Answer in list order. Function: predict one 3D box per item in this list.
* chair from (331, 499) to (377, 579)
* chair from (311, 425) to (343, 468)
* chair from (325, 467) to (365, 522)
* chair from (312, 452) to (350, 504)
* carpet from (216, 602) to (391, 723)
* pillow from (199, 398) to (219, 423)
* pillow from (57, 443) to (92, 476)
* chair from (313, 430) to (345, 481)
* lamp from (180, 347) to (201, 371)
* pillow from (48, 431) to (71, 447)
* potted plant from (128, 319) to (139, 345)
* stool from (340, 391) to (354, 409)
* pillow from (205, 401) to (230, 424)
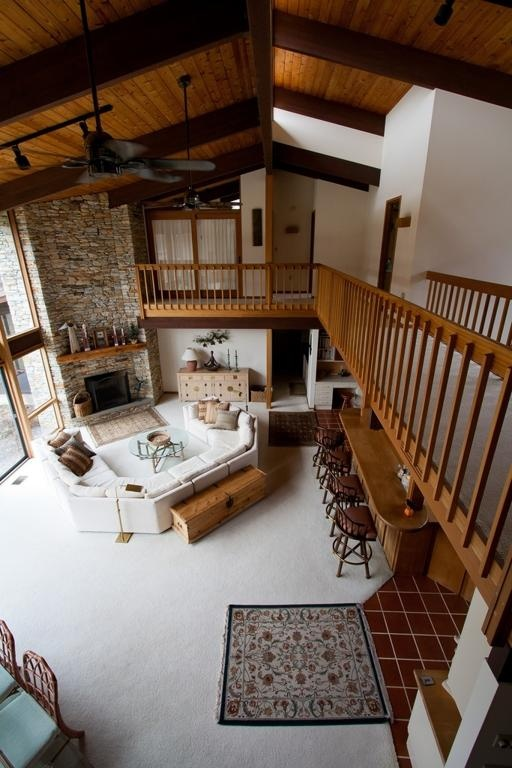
[{"bbox_3d":[1.279,2.002,5.615,0.513,0.922,0.550,-2,47,6],"label":"chair"},{"bbox_3d":[1.256,1.098,7.647,0.477,0.647,0.518,-5,29,-9],"label":"chair"},{"bbox_3d":[1.277,1.545,6.150,0.536,0.755,0.600,-1,35,1],"label":"chair"},{"bbox_3d":[1.203,1.455,6.810,0.492,0.697,0.523,1,45,-4],"label":"chair"},{"bbox_3d":[0.454,2.834,4.478,1.601,0.125,1.144,0,19,1],"label":"carpet"},{"bbox_3d":[-1.023,0.561,9.342,0.194,0.484,0.492,19,-22,-36],"label":"pillow"},{"bbox_3d":[-3.020,1.275,7.391,0.460,0.133,0.453,38,11,-32],"label":"pillow"},{"bbox_3d":[1.249,1.192,7.355,0.580,0.834,0.597,0,28,-1],"label":"chair"},{"bbox_3d":[-1.687,-0.688,11.109,0.542,0.586,0.532,-9,21,-19],"label":"lamp"},{"bbox_3d":[-3.552,0.989,7.868,0.262,0.105,0.265,27,45,21],"label":"pillow"},{"bbox_3d":[-2.873,-1.215,10.198,0.239,0.493,0.224,-2,20,-4],"label":"potted plant"},{"bbox_3d":[2.220,0.377,10.539,0.344,0.474,0.333,-3,32,-1],"label":"stool"},{"bbox_3d":[-0.838,0.605,9.289,0.472,0.464,0.181,6,-20,24],"label":"pillow"}]
